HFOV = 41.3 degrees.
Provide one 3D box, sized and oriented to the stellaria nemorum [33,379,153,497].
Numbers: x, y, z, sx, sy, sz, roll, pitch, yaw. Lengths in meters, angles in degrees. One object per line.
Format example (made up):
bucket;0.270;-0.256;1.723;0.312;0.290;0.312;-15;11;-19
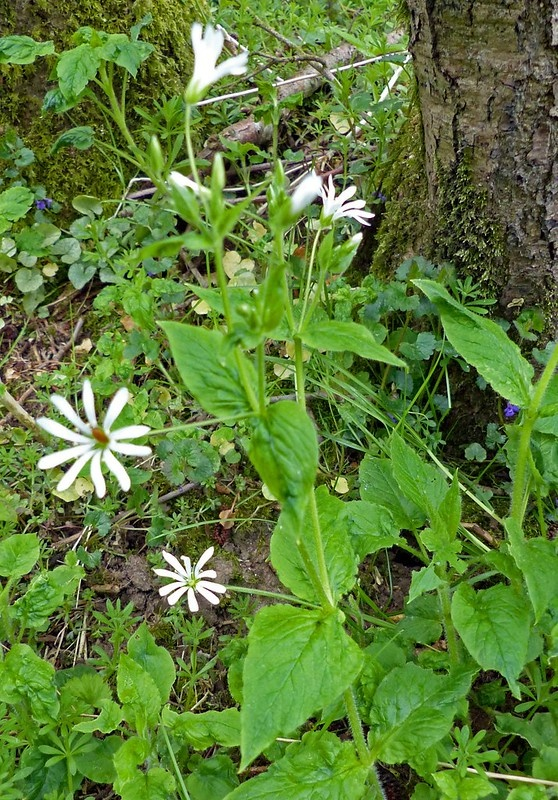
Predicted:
stellaria nemorum;-0.318;0.065;1.313;0.203;0.186;0.083;25;-4;14
